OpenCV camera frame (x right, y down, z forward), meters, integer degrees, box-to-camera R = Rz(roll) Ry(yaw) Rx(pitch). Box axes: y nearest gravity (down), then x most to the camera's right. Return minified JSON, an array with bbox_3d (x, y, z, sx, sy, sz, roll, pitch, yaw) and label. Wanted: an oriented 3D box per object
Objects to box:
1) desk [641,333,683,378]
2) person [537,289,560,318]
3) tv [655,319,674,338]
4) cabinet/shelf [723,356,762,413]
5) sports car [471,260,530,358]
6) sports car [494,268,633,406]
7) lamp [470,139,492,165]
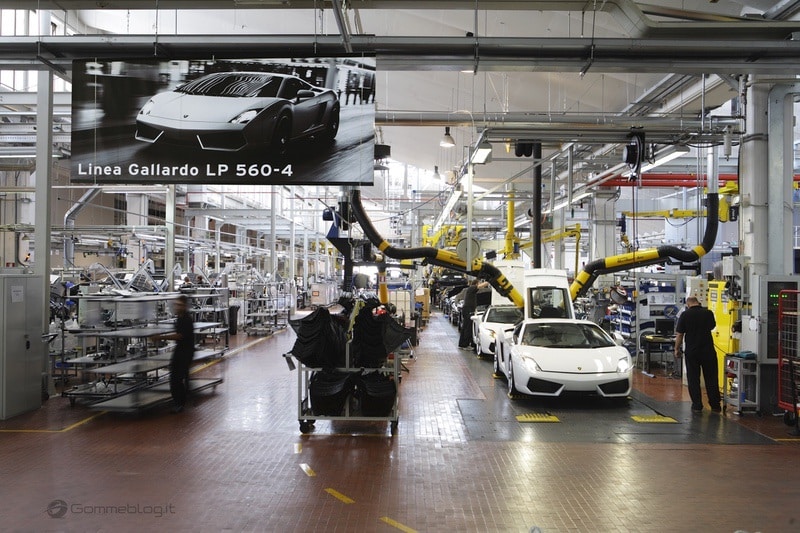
[{"bbox_3d":[7.027,2.404,17.600,1.417,1.356,1.048,0,-10,1],"label":"desk"},{"bbox_3d":[3.910,1.018,17.450,0.721,0.844,0.517,-2,2,6],"label":"person"},{"bbox_3d":[6.898,1.622,17.123,0.454,0.451,0.233,0,-5,2],"label":"tv"},{"bbox_3d":[7.335,2.530,14.032,0.417,1.142,1.183,0,-3,8],"label":"cabinet/shelf"},{"bbox_3d":[3.211,1.263,21.493,1.257,2.430,2.439,22,-17,7],"label":"sports car"},{"bbox_3d":[3.901,1.754,16.325,2.942,2.706,4.938,1,13,5],"label":"sports car"},{"bbox_3d":[1.932,-2.719,15.767,0.489,0.596,0.807,1,14,6],"label":"lamp"}]
